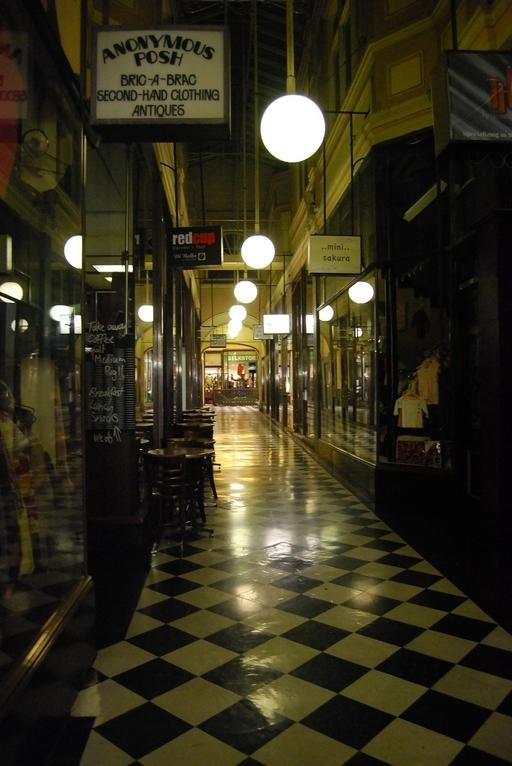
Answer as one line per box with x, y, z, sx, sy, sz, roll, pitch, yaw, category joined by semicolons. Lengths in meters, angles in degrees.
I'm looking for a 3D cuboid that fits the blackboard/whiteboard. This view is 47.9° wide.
-1.151;0.005;4.432;0.304;0.934;0.164;0;-2;-12;blackboard/whiteboard

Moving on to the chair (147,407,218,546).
-0.728;0.999;5.591;0.379;0.570;1.450;-1;0;-2;chair
